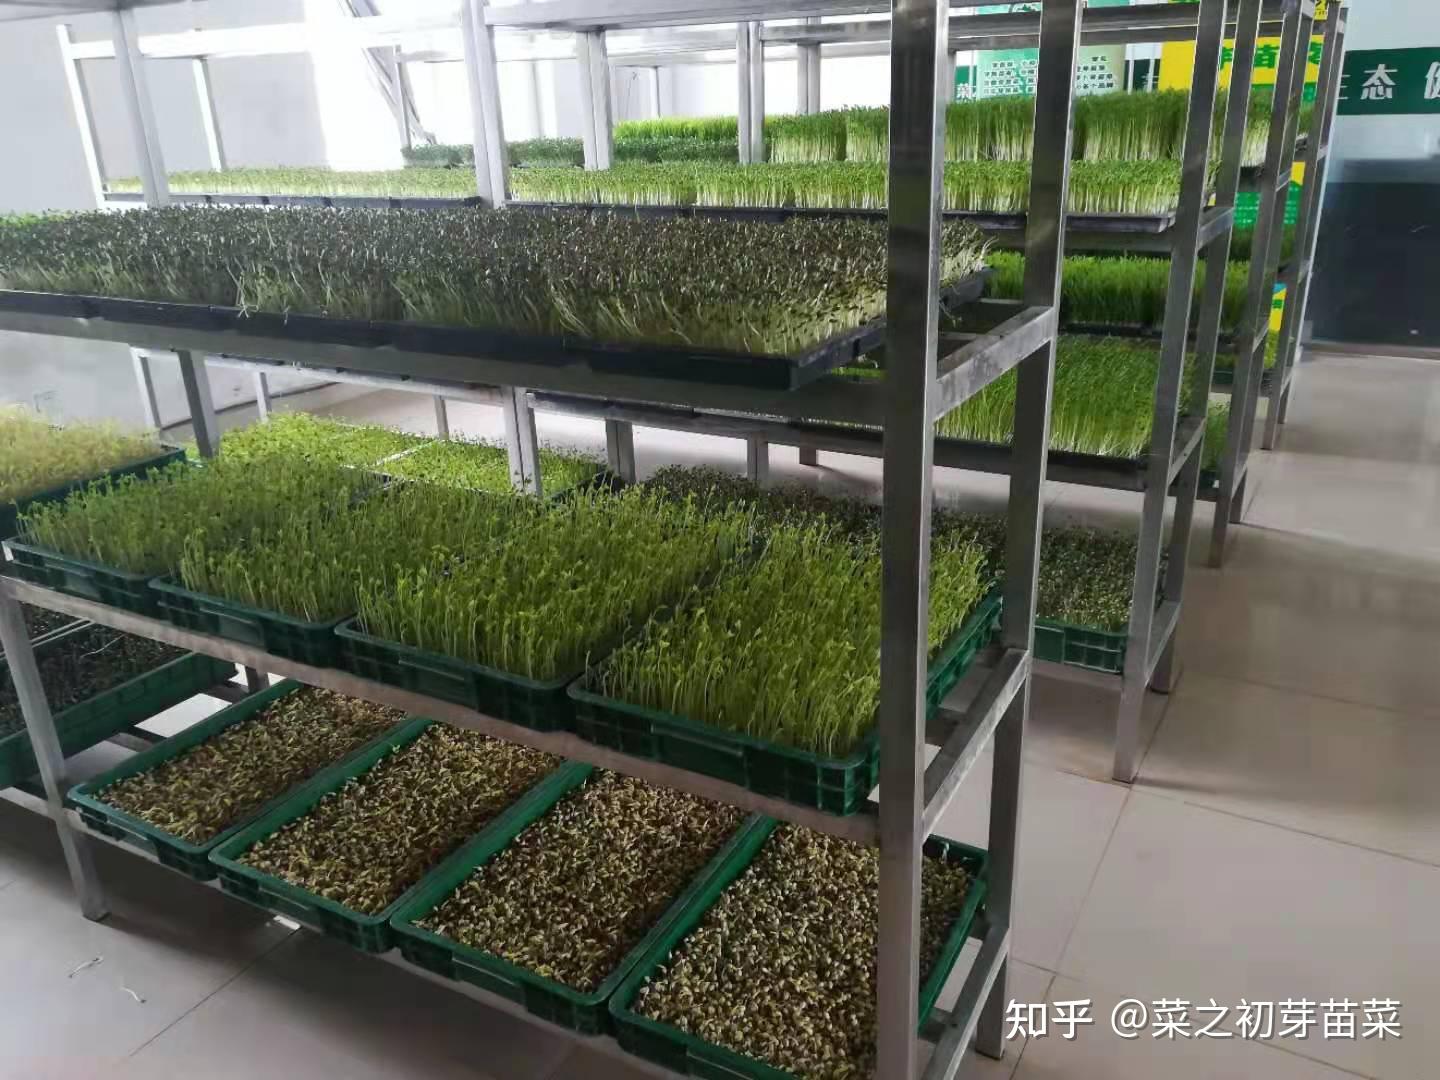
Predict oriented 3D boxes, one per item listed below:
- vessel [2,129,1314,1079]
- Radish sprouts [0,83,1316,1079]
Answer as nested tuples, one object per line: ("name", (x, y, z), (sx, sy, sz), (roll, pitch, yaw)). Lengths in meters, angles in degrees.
("vessel", (-0.103, 0.219, 2.774), (2.097, 1.412, 2.187), (12, 31, 26))
("Radish sprouts", (-0.064, 0.327, 3.283), (2.875, 2.745, 2.231), (11, 31, 25))
